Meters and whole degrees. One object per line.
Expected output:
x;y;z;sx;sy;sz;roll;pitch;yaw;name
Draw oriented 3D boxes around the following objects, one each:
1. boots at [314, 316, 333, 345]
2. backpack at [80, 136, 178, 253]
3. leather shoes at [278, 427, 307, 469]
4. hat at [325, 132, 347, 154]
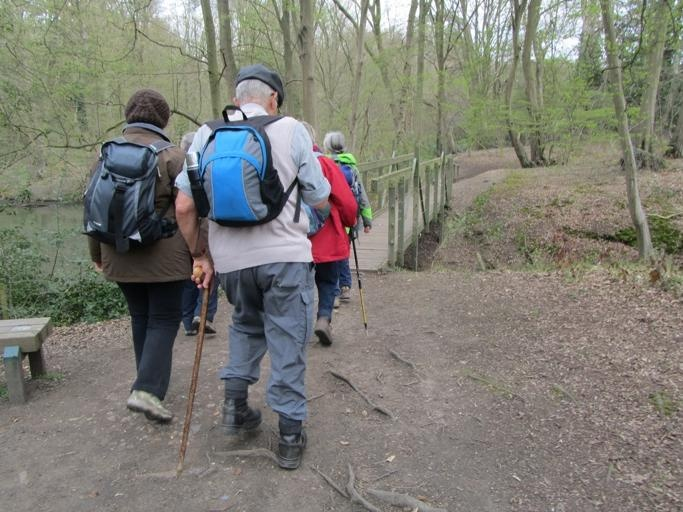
-0.195;0.775;5.521;0.117;0.358;0.163;-1;44;5;boots
-1.665;-0.486;4.077;0.582;0.826;0.485;9;15;-1;backpack
-0.351;1.340;3.759;0.125;0.229;0.323;1;14;2;leather shoes
-0.073;-1.317;6.255;0.190;0.272;0.265;2;5;5;hat
